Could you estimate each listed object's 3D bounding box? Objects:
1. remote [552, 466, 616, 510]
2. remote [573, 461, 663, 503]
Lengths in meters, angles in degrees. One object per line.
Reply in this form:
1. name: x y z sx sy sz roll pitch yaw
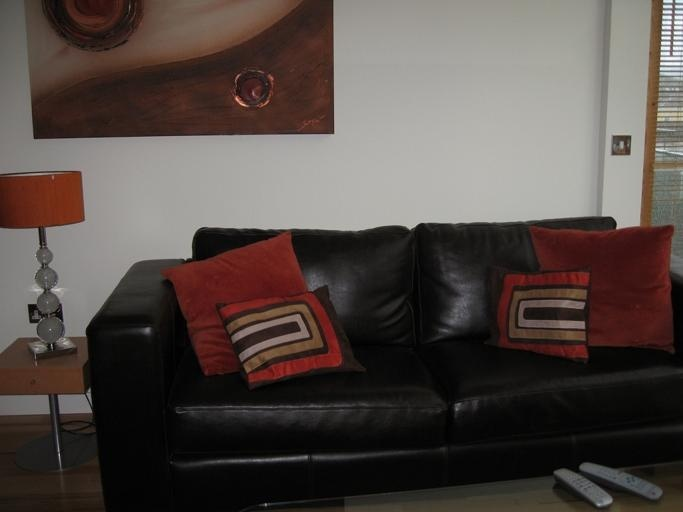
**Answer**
1. remote: 0.836 0.793 2.095 0.068 0.044 0.196 -11 19 -25
2. remote: 0.958 0.775 2.128 0.260 0.052 0.094 16 13 38
